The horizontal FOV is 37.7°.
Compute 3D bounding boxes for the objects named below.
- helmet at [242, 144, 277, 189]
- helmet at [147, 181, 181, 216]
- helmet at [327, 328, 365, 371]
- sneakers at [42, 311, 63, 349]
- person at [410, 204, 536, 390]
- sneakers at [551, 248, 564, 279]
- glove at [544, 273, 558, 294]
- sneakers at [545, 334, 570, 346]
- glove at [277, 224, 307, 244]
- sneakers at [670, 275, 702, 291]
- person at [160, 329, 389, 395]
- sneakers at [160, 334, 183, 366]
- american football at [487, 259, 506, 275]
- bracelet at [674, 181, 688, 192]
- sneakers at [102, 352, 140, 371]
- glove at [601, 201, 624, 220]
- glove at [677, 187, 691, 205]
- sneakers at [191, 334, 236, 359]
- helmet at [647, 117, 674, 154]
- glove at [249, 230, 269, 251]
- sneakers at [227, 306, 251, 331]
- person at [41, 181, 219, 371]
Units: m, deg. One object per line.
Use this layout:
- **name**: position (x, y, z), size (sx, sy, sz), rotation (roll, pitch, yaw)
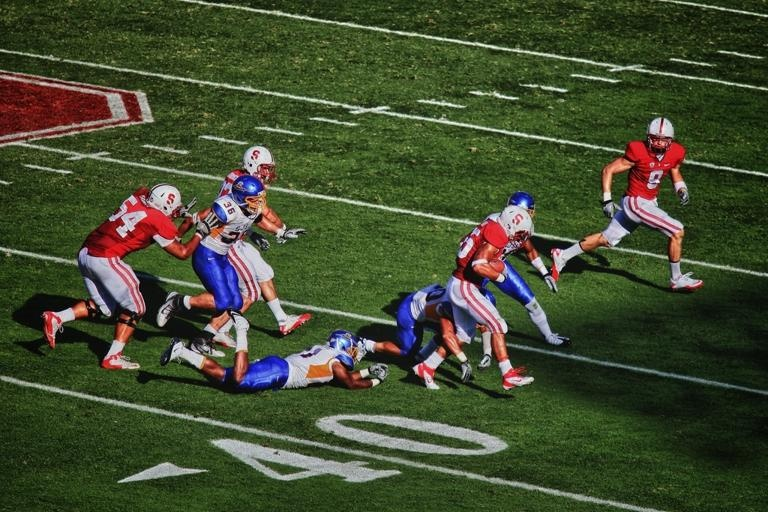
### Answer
- **helmet**: position (-1.701, -1.235, 15.148), size (0.580, 0.414, 0.436), rotation (17, 21, 11)
- **helmet**: position (-2.795, -0.728, 14.073), size (0.483, 0.348, 0.330), rotation (3, 33, -32)
- **helmet**: position (-0.456, 1.164, 14.088), size (0.536, 0.393, 0.399), rotation (37, -18, -19)
- **sneakers**: position (-4.091, 0.885, 14.039), size (0.289, 0.500, 0.185), rotation (-9, 24, -5)
- **person**: position (0.725, 0.887, 14.612), size (1.568, 1.329, 0.918), rotation (28, 12, 37)
- **sneakers**: position (2.493, 0.106, 16.294), size (0.273, 0.438, 0.169), rotation (0, 4, 18)
- **glove**: position (2.269, 0.385, 15.411), size (0.310, 0.078, 0.181), rotation (41, 8, -5)
- **sneakers**: position (2.326, 1.119, 15.118), size (0.381, 0.115, 0.140), rotation (1, -33, 11)
- **glove**: position (-1.258, -0.289, 15.193), size (0.365, 0.123, 0.252), rotation (-11, -2, -4)
- **sneakers**: position (4.355, 0.396, 16.329), size (0.427, 0.174, 0.203), rotation (-3, 41, 12)
- **person**: position (-1.373, 1.343, 13.980), size (2.751, 0.627, 0.948), rotation (0, 9, -11)
- **sneakers**: position (-2.557, 1.155, 13.492), size (0.315, 0.373, 0.189), rotation (8, 12, 16)
- **american football**: position (1.385, 0.132, 14.196), size (0.209, 0.162, 0.146), rotation (-21, 11, 5)
- **bracelet**: position (4.407, -1.024, 16.818), size (0.185, 0.135, 0.193), rotation (-1, -21, -24)
- **sneakers**: position (-3.251, 1.313, 13.984), size (0.586, 0.213, 0.182), rotation (0, 13, -13)
- **glove**: position (3.266, -0.691, 16.627), size (0.265, 0.163, 0.349), rotation (-31, 26, -24)
- **glove**: position (4.463, -0.875, 16.832), size (0.160, 0.354, 0.149), rotation (-9, 47, 12)
- **sneakers**: position (-2.165, 1.134, 13.994), size (0.561, 0.241, 0.169), rotation (16, 34, -42)
- **helmet**: position (4.013, -1.802, 16.494), size (0.448, 0.411, 0.511), rotation (7, 33, 6)
- **glove**: position (-1.710, -0.178, 15.092), size (0.346, 0.091, 0.189), rotation (39, 30, 14)
- **sneakers**: position (-1.832, 0.789, 14.088), size (0.159, 0.361, 0.124), rotation (34, -13, 40)
- **person**: position (-3.248, 0.243, 14.001), size (1.710, 2.279, 0.580), rotation (3, 12, -9)
